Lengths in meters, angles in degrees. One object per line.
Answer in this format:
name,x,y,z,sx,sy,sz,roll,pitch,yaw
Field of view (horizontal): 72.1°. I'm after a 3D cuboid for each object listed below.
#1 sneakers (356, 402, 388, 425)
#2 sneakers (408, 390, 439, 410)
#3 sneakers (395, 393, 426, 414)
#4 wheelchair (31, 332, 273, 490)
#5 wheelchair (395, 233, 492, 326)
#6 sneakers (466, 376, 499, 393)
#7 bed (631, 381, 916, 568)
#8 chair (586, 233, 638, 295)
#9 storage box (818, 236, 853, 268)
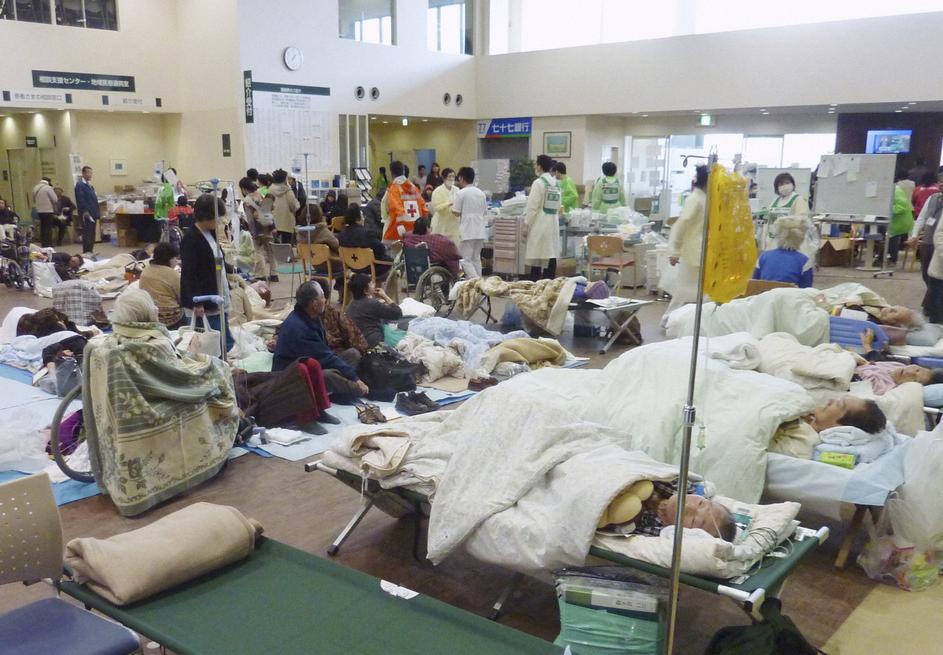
sneakers,-0.768,0.648,4.855,0.148,0.089,0.243,-6,3,-35
sneakers,-0.394,0.603,5.283,0.097,0.111,0.257,-10,35,-41
sneakers,-0.492,0.616,5.198,0.134,0.087,0.221,-6,3,-36
wheelchair,-2.493,0.568,4.509,0.795,0.920,0.685,-3,-2,-34
wheelchair,-0.391,-0.636,8.393,1.305,1.094,0.861,-9,13,-18
sneakers,0.059,0.509,5.647,0.203,0.068,0.202,0,8,15
bed,1.866,0.928,3.682,1.118,0.471,1.113,2,33,18
chair,1.965,-0.905,9.133,0.731,1.030,0.713,13,31,31
storage box,6.186,-1.248,11.008,0.510,0.535,0.793,12,15,40
